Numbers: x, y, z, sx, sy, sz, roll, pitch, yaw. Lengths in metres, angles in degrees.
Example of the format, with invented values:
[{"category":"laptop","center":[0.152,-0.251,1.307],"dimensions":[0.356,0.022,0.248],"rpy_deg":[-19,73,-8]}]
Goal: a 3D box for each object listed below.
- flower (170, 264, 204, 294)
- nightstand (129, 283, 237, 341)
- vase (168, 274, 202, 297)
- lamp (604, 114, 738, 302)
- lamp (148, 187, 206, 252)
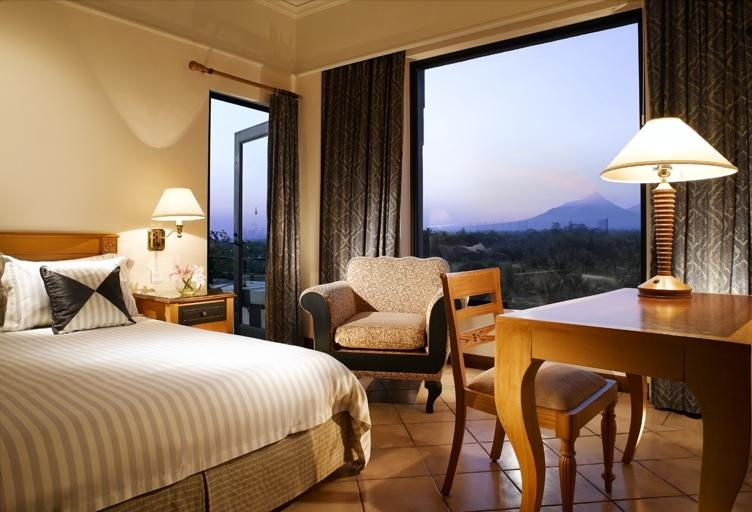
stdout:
[{"category":"flower","center":[-1.720,0.213,4.682],"dimensions":[0.299,0.284,0.296],"rpy_deg":[2,-11,-5]},{"category":"nightstand","center":[-1.706,0.419,4.582],"dimensions":[0.553,0.780,0.504],"rpy_deg":[2,3,33]},{"category":"vase","center":[-1.733,0.264,4.708],"dimensions":[0.245,0.174,0.250],"rpy_deg":[1,-6,-8]},{"category":"lamp","center":[1.629,-0.295,2.940],"dimensions":[0.723,0.993,0.513],"rpy_deg":[-1,10,-2]},{"category":"lamp","center":[-1.806,-0.292,4.721],"dimensions":[0.635,0.579,0.489],"rpy_deg":[-8,-9,42]}]
